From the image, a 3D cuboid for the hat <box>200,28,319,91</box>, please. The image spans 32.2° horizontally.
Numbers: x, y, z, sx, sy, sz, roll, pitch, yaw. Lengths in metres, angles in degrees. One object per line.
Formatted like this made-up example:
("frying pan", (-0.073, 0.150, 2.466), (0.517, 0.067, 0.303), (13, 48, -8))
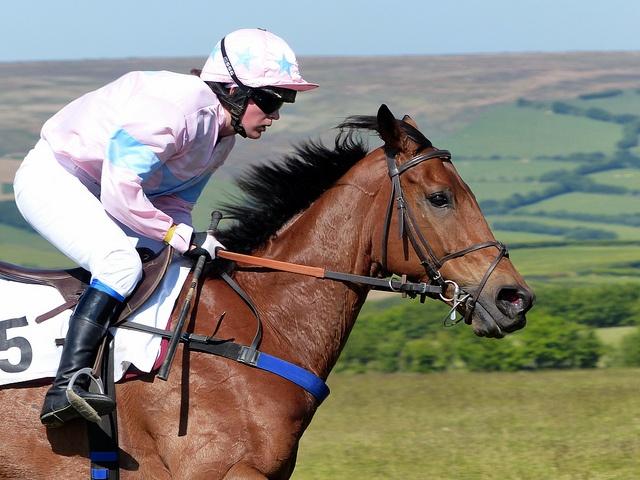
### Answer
("hat", (-0.345, -1.173, 7.454), (0.841, 0.260, 0.601), (2, 2, 36))
